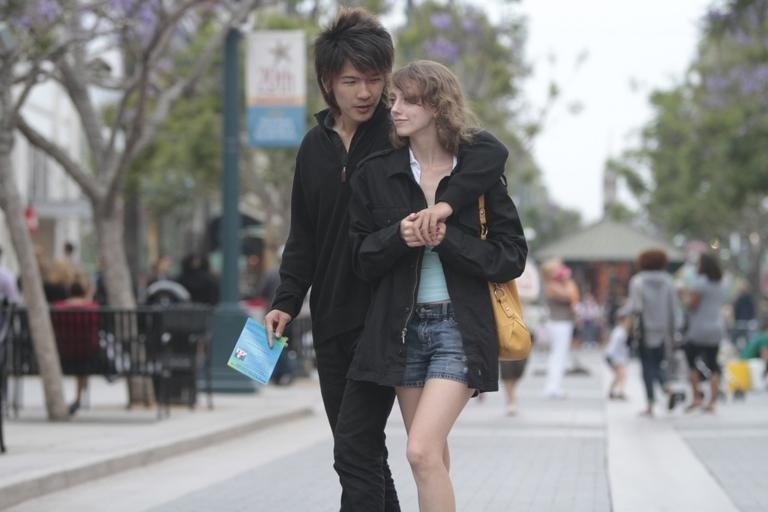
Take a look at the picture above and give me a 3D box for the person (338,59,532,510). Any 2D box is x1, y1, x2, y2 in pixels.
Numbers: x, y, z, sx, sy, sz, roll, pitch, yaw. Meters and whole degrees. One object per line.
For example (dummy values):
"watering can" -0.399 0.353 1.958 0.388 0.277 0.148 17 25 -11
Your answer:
"person" 0.305 0.221 8.567 1.381 3.159 0.471 -1 0 -2
